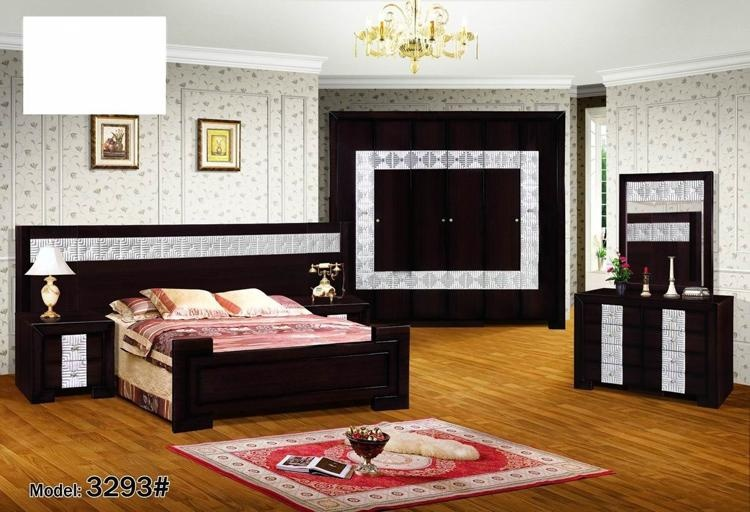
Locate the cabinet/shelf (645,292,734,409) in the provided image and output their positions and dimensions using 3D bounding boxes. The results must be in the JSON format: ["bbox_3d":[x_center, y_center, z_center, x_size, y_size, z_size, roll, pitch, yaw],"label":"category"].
[{"bbox_3d":[2.868,0.810,5.034,0.573,0.898,0.580,5,7,40],"label":"cabinet/shelf"}]

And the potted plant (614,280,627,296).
[{"bbox_3d":[2.363,0.311,5.294,0.136,0.127,0.129,-1,0,7],"label":"potted plant"}]

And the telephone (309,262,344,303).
[{"bbox_3d":[-0.549,0.286,6.446,0.473,0.411,0.296,-3,4,28],"label":"telephone"}]

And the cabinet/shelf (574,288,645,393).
[{"bbox_3d":[2.168,0.813,5.213,0.563,0.903,0.223,2,5,15],"label":"cabinet/shelf"}]

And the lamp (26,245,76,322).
[{"bbox_3d":[-3.094,0.257,5.242,0.466,0.628,0.479,-7,-6,37],"label":"lamp"}]

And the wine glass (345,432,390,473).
[{"bbox_3d":[-0.065,1.199,3.325,0.282,0.196,0.265,1,-1,-20],"label":"wine glass"}]
